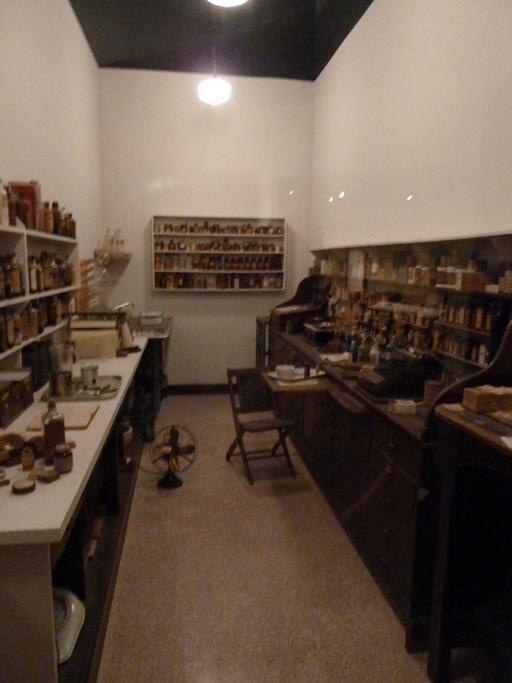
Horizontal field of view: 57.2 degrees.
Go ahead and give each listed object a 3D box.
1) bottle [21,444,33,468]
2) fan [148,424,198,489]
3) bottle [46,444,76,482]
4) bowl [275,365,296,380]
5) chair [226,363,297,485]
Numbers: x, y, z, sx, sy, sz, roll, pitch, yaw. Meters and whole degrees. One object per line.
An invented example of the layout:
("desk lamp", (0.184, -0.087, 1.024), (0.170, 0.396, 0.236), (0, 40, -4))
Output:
("bottle", (-0.832, 0.416, 1.698), (0.041, 0.087, 0.067), (-4, 9, -29))
("fan", (-0.686, 0.957, 3.831), (0.401, 0.580, 0.239), (5, 11, 19))
("bottle", (-0.677, 0.431, 1.663), (0.077, 0.114, 0.113), (0, 1, -6))
("bowl", (0.211, 0.212, 3.214), (0.102, 0.060, 0.084), (3, -2, -45))
("chair", (-0.025, 0.655, 4.103), (0.563, 1.137, 0.850), (-2, 2, -15))
